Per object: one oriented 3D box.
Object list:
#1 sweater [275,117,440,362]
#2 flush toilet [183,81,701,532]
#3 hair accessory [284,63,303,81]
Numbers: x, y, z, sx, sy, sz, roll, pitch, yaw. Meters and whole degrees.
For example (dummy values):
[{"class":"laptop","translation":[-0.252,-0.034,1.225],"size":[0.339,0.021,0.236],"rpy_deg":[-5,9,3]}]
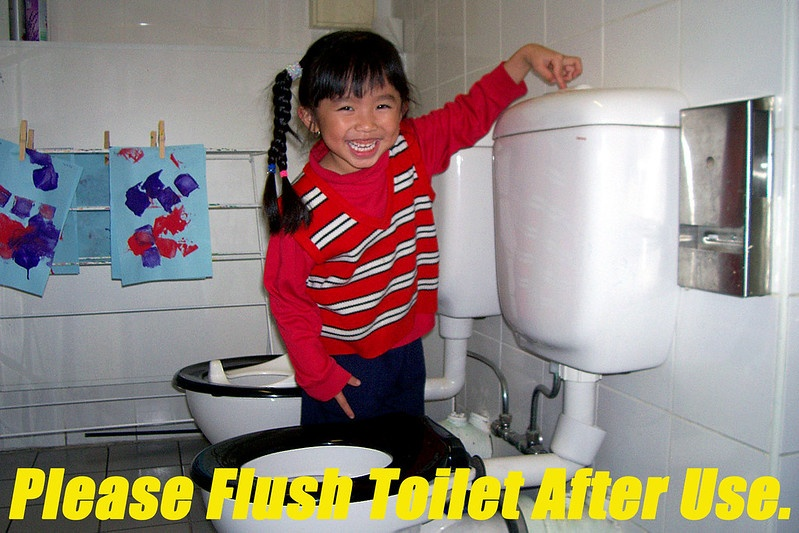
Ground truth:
[{"class":"sweater","translation":[-0.112,-0.074,1.557],"size":[0.444,0.542,0.299],"rpy_deg":[-23,41,-27]},{"class":"flush toilet","translation":[0.054,0.131,1.599],"size":[1.112,1.139,0.711],"rpy_deg":[-6,15,-18]},{"class":"hair accessory","translation":[-0.262,-0.498,1.527],"size":[0.050,0.043,0.043],"rpy_deg":[3,15,17]}]
